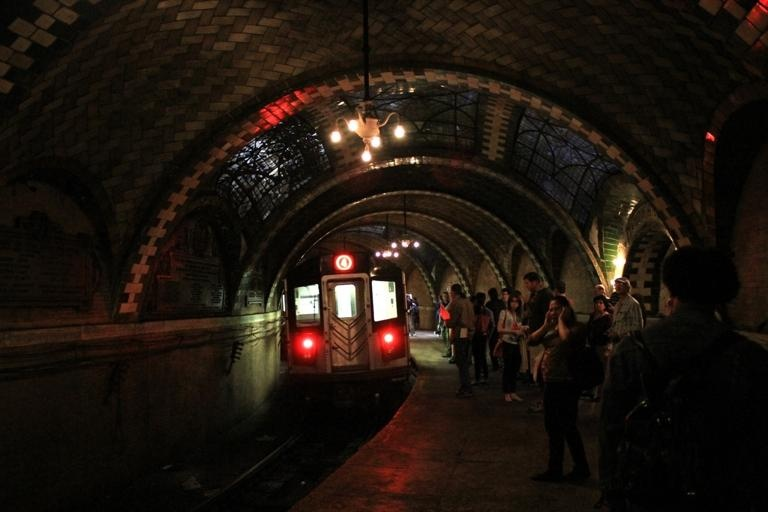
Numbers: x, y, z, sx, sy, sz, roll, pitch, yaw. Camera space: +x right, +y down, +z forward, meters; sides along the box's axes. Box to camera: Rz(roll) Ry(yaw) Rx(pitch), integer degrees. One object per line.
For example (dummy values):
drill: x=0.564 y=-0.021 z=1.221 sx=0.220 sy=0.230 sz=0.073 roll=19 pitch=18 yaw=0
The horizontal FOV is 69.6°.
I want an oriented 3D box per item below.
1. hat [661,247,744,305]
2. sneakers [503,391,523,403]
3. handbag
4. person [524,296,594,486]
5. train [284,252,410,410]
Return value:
hat: x=2.459 y=0.153 z=4.269 sx=0.449 sy=0.488 sz=0.187 roll=-15 pitch=-13 yaw=9
sneakers: x=2.503 y=2.665 z=10.514 sx=0.440 sy=0.193 sz=0.142 roll=-3 pitch=-3 yaw=3
handbag: x=2.041 y=1.224 z=4.125 sx=0.703 sy=0.979 sz=0.224 roll=-1 pitch=0 yaw=18
person: x=2.172 y=1.567 z=6.728 sx=0.592 sy=1.789 sz=0.583 roll=-1 pitch=0 yaw=17
train: x=-0.908 y=1.794 z=14.307 sx=2.077 sy=2.532 sz=4.121 roll=-3 pitch=-7 yaw=-2
